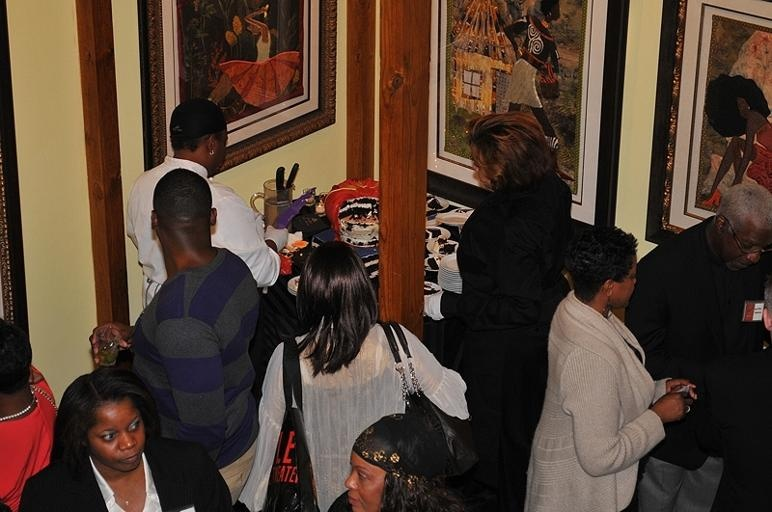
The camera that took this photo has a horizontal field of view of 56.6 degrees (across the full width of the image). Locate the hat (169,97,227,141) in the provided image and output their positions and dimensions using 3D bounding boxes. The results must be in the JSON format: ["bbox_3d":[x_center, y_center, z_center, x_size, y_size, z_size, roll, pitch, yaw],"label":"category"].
[{"bbox_3d":[-0.959,-0.692,3.689,0.245,0.142,0.188,-6,20,15],"label":"hat"}]

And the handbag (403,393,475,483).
[{"bbox_3d":[0.181,0.652,2.586,0.212,0.283,0.154,-36,7,13],"label":"handbag"}]

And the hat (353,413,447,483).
[{"bbox_3d":[0.048,0.659,2.321,0.217,0.097,0.234,16,23,-13],"label":"hat"}]

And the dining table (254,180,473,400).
[{"bbox_3d":[-0.124,0.297,4.446,1.101,1.176,0.716,12,-31,7],"label":"dining table"}]
